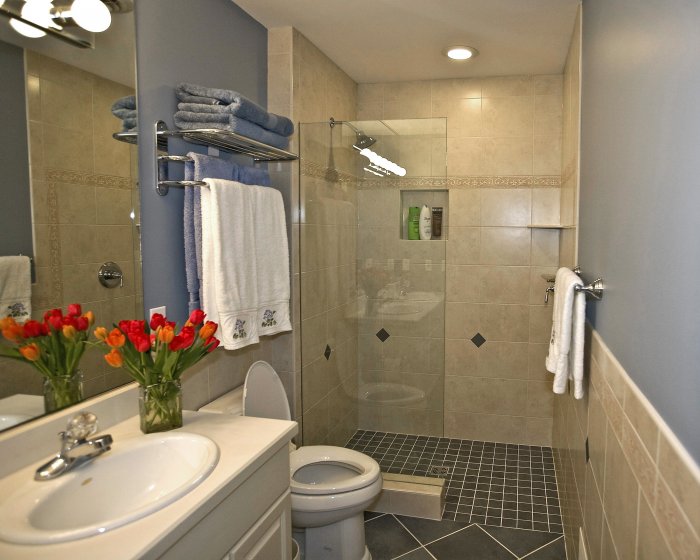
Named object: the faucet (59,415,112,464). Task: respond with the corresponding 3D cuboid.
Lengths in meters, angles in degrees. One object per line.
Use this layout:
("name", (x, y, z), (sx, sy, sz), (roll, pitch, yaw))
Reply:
("faucet", (-0.783, 0.454, 1.634), (0.068, 0.099, 0.241), (2, 5, 7))

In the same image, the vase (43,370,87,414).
("vase", (-0.947, 0.391, 1.870), (0.126, 0.132, 0.134), (11, -8, 6))

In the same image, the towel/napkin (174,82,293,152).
("towel/napkin", (-0.456, -0.641, 2.308), (0.251, 0.123, 0.355), (6, 7, 25))

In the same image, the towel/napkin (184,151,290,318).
("towel/napkin", (-0.490, -0.173, 2.303), (0.094, 0.755, 0.688), (2, 5, 20))

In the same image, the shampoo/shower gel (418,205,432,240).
("shampoo/shower gel", (0.423, -0.318, 3.054), (0.040, 0.171, 0.100), (3, -1, 32))

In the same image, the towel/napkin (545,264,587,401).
("towel/napkin", (0.872, 0.191, 2.197), (0.112, 0.414, 0.417), (3, 7, 16))

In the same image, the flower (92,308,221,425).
("flower", (-0.669, 0.343, 1.921), (0.320, 0.354, 0.302), (0, -11, -34))

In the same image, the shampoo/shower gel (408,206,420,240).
("shampoo/shower gel", (0.352, -0.317, 3.000), (0.093, 0.185, 0.030), (-9, 12, -36))
